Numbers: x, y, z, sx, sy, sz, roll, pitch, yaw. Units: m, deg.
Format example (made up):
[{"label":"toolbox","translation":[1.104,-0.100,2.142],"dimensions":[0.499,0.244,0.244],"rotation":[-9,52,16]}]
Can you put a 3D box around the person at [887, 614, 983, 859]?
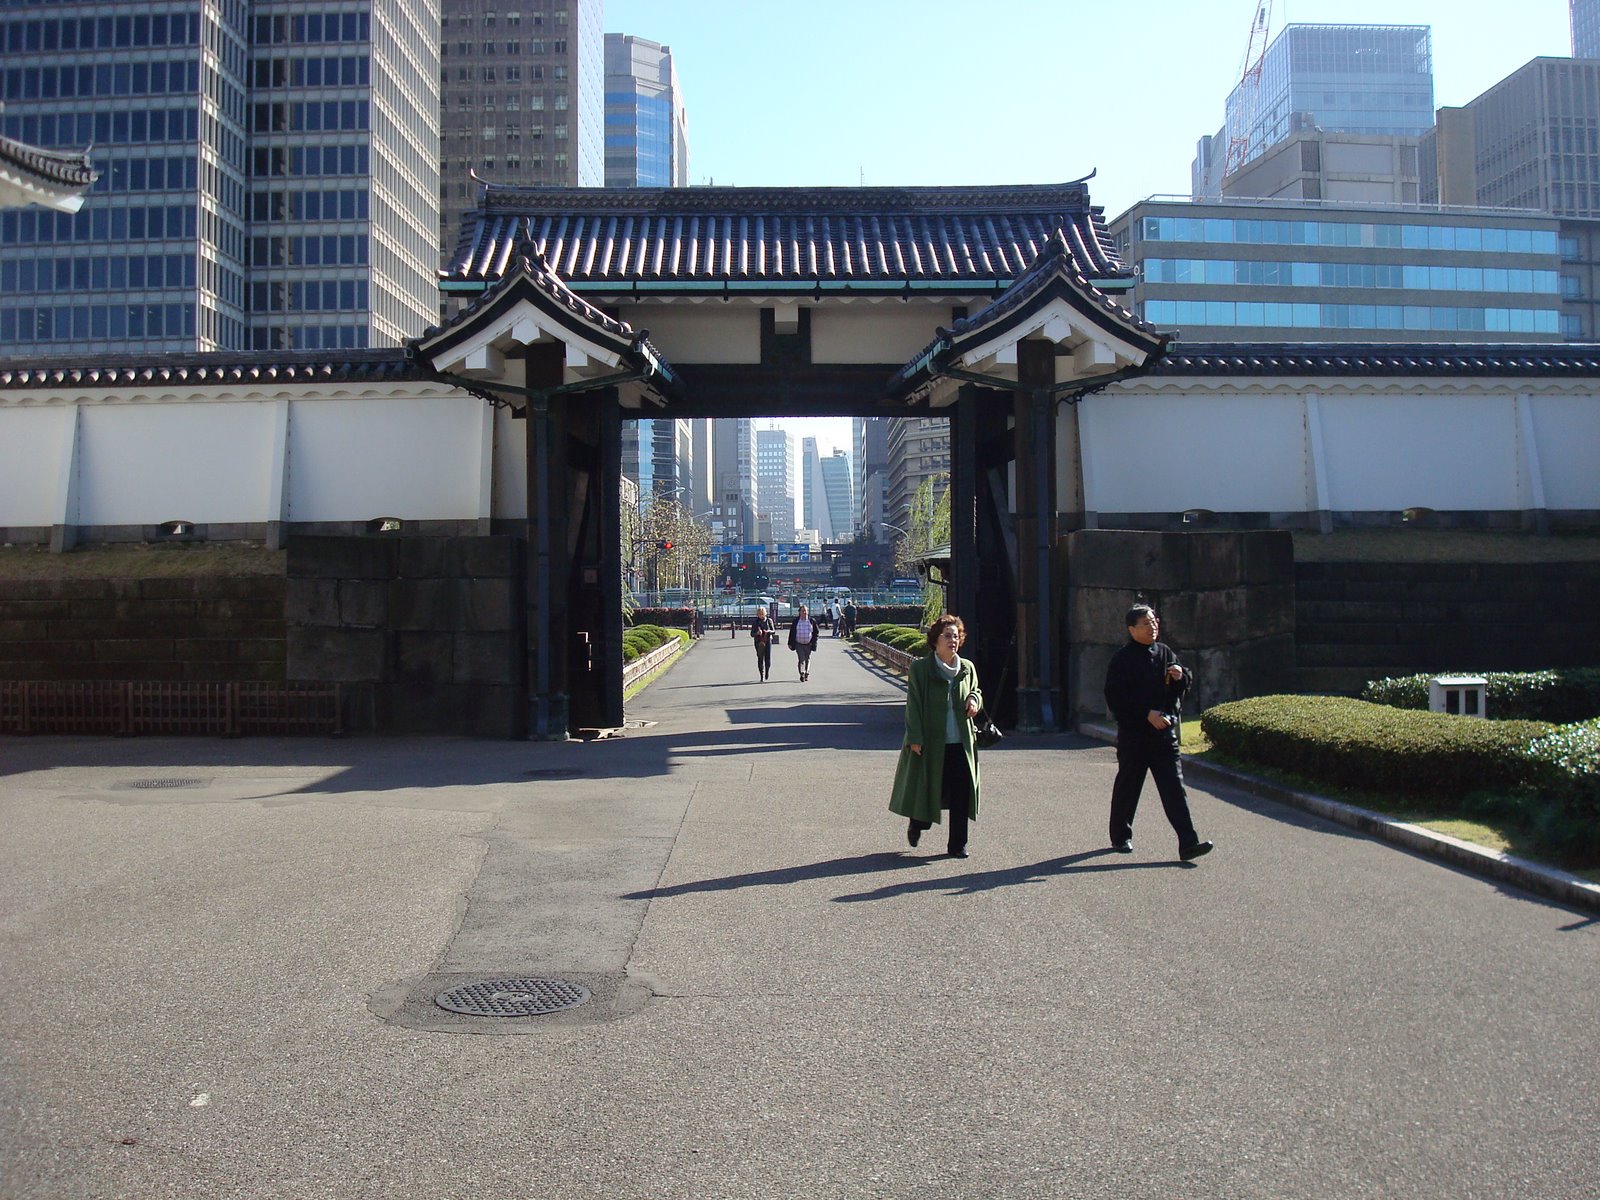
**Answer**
[{"label":"person","translation":[1.289,1.234,12.770],"dimensions":[0.801,2.188,1.006],"rotation":[0,5,8]}]

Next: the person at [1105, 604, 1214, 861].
[{"label":"person","translation":[3.227,1.192,12.594],"dimensions":[0.783,2.229,1.187],"rotation":[-1,5,-10]}]
